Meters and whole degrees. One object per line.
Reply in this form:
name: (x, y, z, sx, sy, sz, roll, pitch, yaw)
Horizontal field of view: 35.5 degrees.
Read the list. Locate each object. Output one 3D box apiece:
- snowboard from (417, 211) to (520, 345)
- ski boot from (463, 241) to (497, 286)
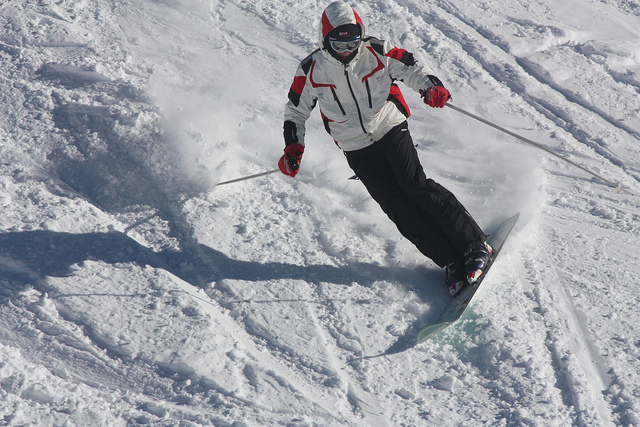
snowboard: (2.097, 0.654, 13.094, 0.257, 0.499, 2.248, 36, 77, -11)
ski boot: (2.142, 0.586, 12.982, 0.333, 0.253, 0.699, 46, 40, -9)
